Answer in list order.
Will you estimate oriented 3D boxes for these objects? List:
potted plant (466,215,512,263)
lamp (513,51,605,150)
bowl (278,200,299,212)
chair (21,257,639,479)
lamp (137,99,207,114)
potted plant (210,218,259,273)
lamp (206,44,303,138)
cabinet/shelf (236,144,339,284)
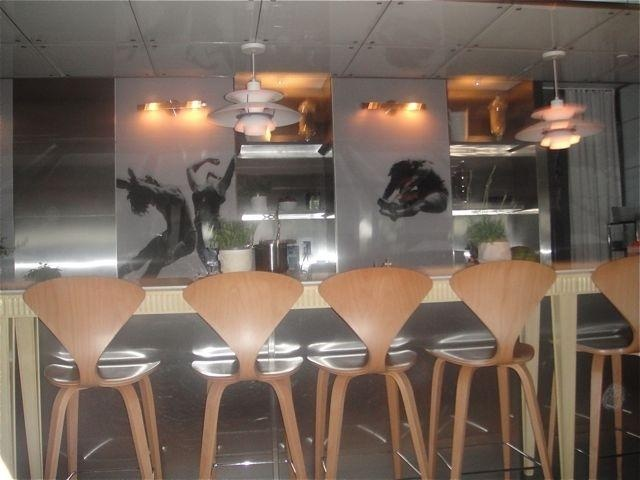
[{"bbox_3d":[1.167,-0.046,4.459,0.317,0.381,0.266,0,16,33],"label":"potted plant"},{"bbox_3d":[1.621,-0.953,4.570,0.550,0.646,0.567,-3,1,43],"label":"lamp"},{"bbox_3d":[-0.268,-0.272,5.403,0.102,0.063,0.104,1,0,0],"label":"bowl"},{"bbox_3d":[0.075,0.834,4.096,3.583,1.311,0.946,-2,-2,1],"label":"chair"},{"bbox_3d":[-1.091,-0.984,4.918,0.506,0.105,0.031,-1,-2,-6],"label":"lamp"},{"bbox_3d":[-0.493,0.052,3.984,0.198,0.274,0.218,-1,17,5],"label":"potted plant"},{"bbox_3d":[-0.425,-0.973,4.285,0.574,0.575,0.587,-1,-1,6],"label":"lamp"},{"bbox_3d":[-0.017,-0.273,5.744,0.572,1.040,0.768,-1,5,19],"label":"cabinet/shelf"}]
